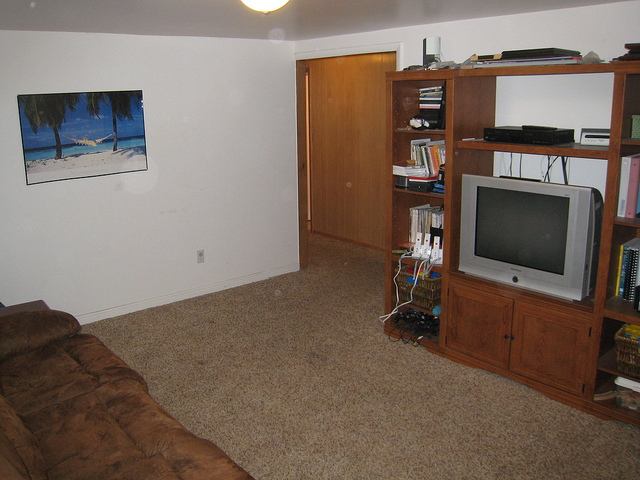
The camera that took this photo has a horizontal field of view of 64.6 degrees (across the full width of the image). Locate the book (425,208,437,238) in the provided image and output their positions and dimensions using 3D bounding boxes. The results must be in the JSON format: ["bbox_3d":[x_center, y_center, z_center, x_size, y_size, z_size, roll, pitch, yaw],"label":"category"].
[{"bbox_3d":[0.925,-0.132,4.260,0.025,0.256,0.180,9,16,36],"label":"book"}]

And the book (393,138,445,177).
[{"bbox_3d":[0.870,-0.671,4.232,0.313,0.369,0.122,7,4,40],"label":"book"}]

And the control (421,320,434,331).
[{"bbox_3d":[0.927,0.751,4.393,0.062,0.034,0.093,2,28,35],"label":"control"}]

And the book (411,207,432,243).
[{"bbox_3d":[0.880,-0.080,4.489,0.178,0.334,0.337,4,13,12],"label":"book"}]

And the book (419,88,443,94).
[{"bbox_3d":[0.887,-1.199,4.082,0.015,0.028,0.219,-16,24,-40],"label":"book"}]

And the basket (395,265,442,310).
[{"bbox_3d":[0.827,0.410,4.407,0.279,0.296,0.373,-9,13,-40],"label":"basket"}]

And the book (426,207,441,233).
[{"bbox_3d":[0.959,-0.183,4.382,0.108,0.202,0.204,8,20,20],"label":"book"}]

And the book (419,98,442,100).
[{"bbox_3d":[0.887,-1.138,4.091,0.042,0.017,0.223,-13,22,-30],"label":"book"}]

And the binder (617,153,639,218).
[{"bbox_3d":[1.992,-0.356,3.283,0.096,0.315,0.319,5,17,12],"label":"binder"}]

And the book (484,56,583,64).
[{"bbox_3d":[1.457,-1.253,3.534,0.639,0.037,0.102,15,25,39],"label":"book"}]

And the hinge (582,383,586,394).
[{"bbox_3d":[1.830,1.036,3.530,0.016,0.073,0.003,10,20,35],"label":"hinge"}]

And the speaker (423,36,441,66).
[{"bbox_3d":[0.908,-1.553,4.159,0.122,0.202,0.071,0,17,5],"label":"speaker"}]

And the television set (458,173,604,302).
[{"bbox_3d":[1.606,-0.077,3.898,0.519,0.898,0.948,-23,26,-39],"label":"television set"}]

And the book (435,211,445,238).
[{"bbox_3d":[0.981,-0.121,4.181,0.087,0.183,0.178,1,9,8],"label":"book"}]

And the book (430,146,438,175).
[{"bbox_3d":[0.942,-0.654,4.199,0.033,0.165,0.155,-2,12,8],"label":"book"}]

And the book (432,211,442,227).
[{"bbox_3d":[0.967,-0.169,4.217,0.091,0.097,0.056,12,43,21],"label":"book"}]

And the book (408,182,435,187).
[{"bbox_3d":[0.838,-0.459,4.204,0.203,0.040,0.031,6,19,21],"label":"book"}]

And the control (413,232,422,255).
[{"bbox_3d":[0.832,0.035,4.336,0.065,0.183,0.062,5,18,22],"label":"control"}]

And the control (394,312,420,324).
[{"bbox_3d":[0.769,0.697,4.534,0.120,0.048,0.121,-26,32,-22],"label":"control"}]

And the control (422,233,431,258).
[{"bbox_3d":[0.892,0.056,4.280,0.060,0.189,0.073,3,17,16],"label":"control"}]

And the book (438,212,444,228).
[{"bbox_3d":[0.986,-0.159,4.151,0.058,0.093,0.090,2,14,14],"label":"book"}]

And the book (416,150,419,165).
[{"bbox_3d":[0.816,-0.690,4.277,0.026,0.109,0.006,12,21,38],"label":"book"}]

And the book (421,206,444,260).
[{"bbox_3d":[0.936,-0.039,4.242,0.174,0.335,0.340,4,18,12],"label":"book"}]

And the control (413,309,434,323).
[{"bbox_3d":[0.909,0.686,4.509,0.118,0.043,0.119,24,17,38],"label":"control"}]

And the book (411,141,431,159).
[{"bbox_3d":[0.848,-0.751,4.307,0.144,0.157,0.105,-9,23,-16],"label":"book"}]

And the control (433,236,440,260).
[{"bbox_3d":[0.958,0.070,4.204,0.053,0.189,0.025,5,17,20],"label":"control"}]
